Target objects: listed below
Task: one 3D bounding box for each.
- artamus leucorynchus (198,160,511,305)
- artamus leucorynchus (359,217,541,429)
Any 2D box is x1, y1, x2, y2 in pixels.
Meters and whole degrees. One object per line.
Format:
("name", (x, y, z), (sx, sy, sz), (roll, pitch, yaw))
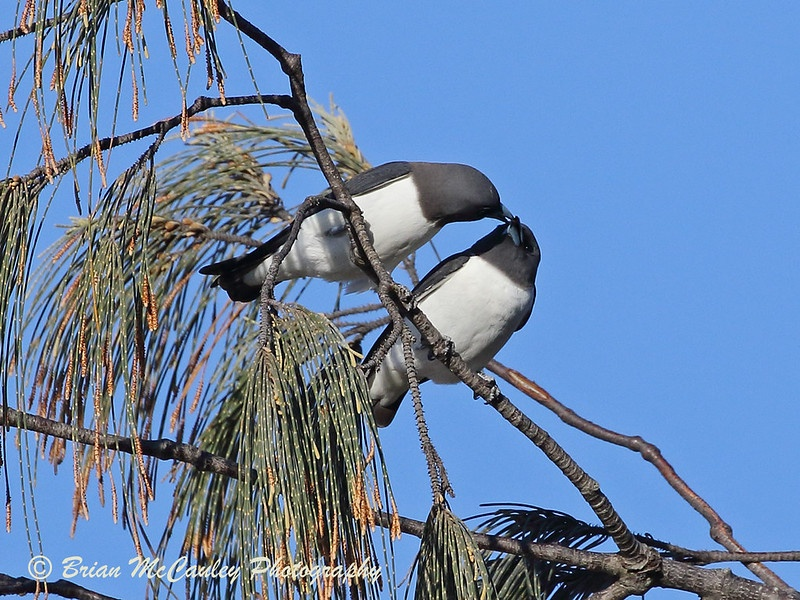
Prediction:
("artamus leucorynchus", (-0.085, -0.181, 4.714), (0.994, 0.428, 0.364), (-1, -1, 5))
("artamus leucorynchus", (0.132, 0.057, 5.001), (0.561, 0.577, 0.322), (-18, -46, 32))
